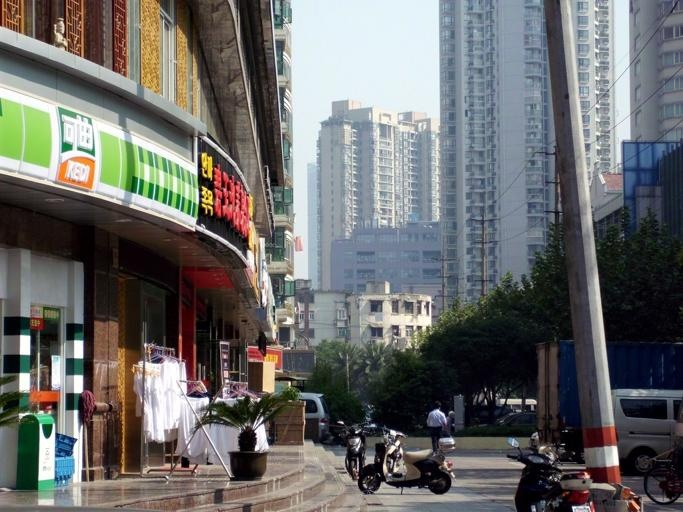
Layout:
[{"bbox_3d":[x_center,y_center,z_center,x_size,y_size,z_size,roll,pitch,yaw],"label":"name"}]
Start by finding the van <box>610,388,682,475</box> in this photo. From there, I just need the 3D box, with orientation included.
[{"bbox_3d":[7.940,4.567,32.034,2.313,1.509,1.564,-2,-2,-2],"label":"van"}]

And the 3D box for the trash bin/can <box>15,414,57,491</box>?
[{"bbox_3d":[-5.174,3.390,20.574,0.387,1.252,0.544,-6,-10,20],"label":"trash bin/can"}]

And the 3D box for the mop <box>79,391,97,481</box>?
[{"bbox_3d":[-4.553,3.263,21.753,0.244,1.587,0.351,-6,-12,15],"label":"mop"}]

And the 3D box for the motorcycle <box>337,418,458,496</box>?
[{"bbox_3d":[1.440,4.686,27.199,2.222,1.552,1.759,-5,-12,5],"label":"motorcycle"}]

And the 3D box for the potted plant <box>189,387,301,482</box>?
[{"bbox_3d":[-1.804,3.262,22.729,1.646,1.305,1.497,0,-1,-10],"label":"potted plant"}]
